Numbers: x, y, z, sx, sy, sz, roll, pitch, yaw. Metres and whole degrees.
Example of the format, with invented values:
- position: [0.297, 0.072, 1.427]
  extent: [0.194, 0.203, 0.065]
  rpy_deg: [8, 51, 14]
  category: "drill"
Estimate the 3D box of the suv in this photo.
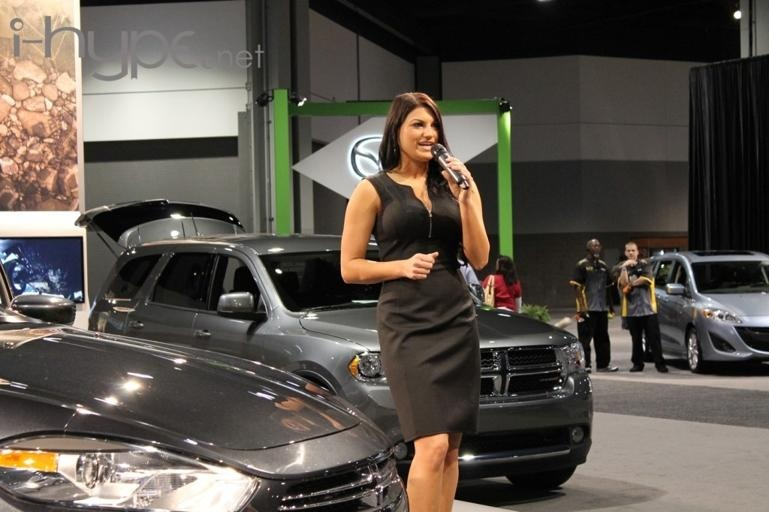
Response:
- position: [-0.931, 0.687, 6.213]
  extent: [2.492, 2.888, 5.379]
  rpy_deg: [2, -4, -42]
  category: "suv"

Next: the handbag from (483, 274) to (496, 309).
- position: [1.725, 0.595, 9.551]
  extent: [0.185, 0.555, 0.449]
  rpy_deg: [7, -9, -13]
  category: "handbag"

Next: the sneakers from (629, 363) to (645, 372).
- position: [5.149, 2.280, 11.900]
  extent: [0.378, 0.167, 0.120]
  rpy_deg: [14, -15, -40]
  category: "sneakers"

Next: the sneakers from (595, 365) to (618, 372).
- position: [4.621, 2.353, 12.072]
  extent: [0.384, 0.161, 0.156]
  rpy_deg: [-2, 3, 0]
  category: "sneakers"

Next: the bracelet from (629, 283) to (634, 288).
- position: [4.904, 0.600, 11.584]
  extent: [0.085, 0.081, 0.045]
  rpy_deg: [13, 5, 30]
  category: "bracelet"

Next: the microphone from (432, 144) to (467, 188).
- position: [0.294, -0.428, 2.780]
  extent: [0.078, 0.079, 0.323]
  rpy_deg: [2, 34, -28]
  category: "microphone"
